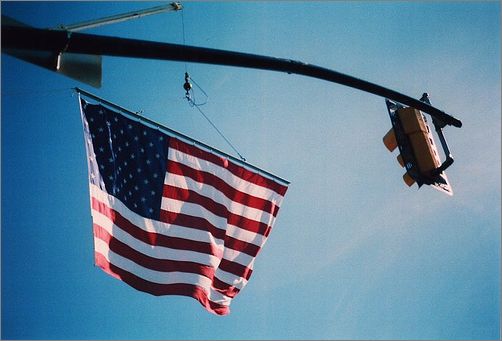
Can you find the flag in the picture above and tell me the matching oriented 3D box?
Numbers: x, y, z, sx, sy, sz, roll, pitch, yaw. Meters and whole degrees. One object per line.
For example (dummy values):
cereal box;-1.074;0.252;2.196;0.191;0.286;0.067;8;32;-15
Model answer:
flag;-1.962;0.878;19.513;4.270;3.202;0.341;27;-27;-24
